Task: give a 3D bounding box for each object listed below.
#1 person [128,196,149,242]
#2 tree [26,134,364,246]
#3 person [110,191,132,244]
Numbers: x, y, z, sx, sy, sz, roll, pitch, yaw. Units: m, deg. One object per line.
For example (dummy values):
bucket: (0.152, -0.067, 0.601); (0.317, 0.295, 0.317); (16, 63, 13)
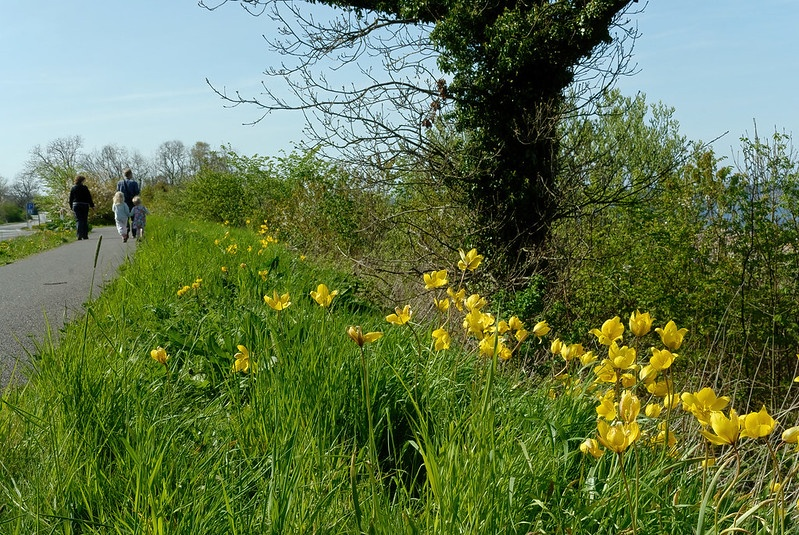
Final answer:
person: (-7.644, -1.447, 17.975); (0.528, 1.270, 0.406); (1, -12, -26)
tree: (-8.177, -2.476, 22.499); (8.986, 3.749, 9.368); (11, -2, -26)
person: (-7.878, -1.488, 17.535); (0.379, 1.413, 1.533); (-7, 9, -23)
